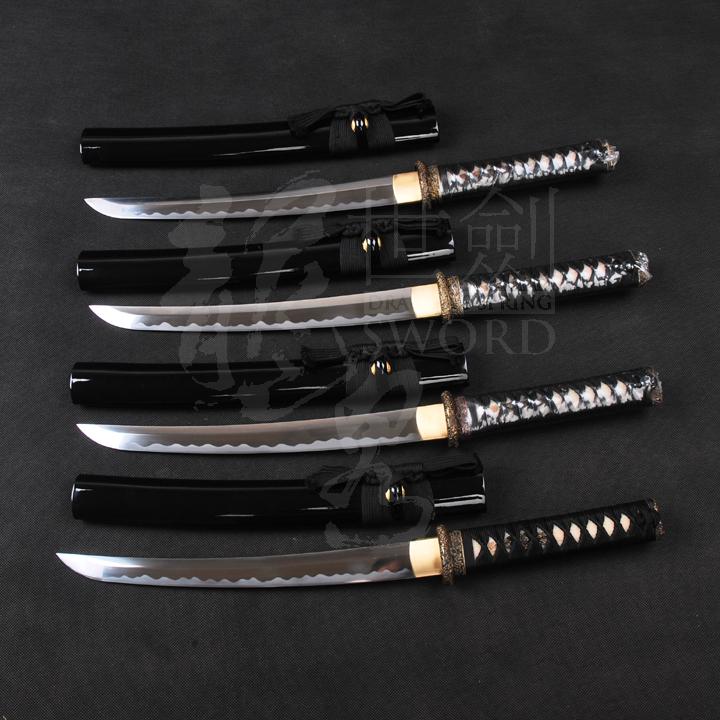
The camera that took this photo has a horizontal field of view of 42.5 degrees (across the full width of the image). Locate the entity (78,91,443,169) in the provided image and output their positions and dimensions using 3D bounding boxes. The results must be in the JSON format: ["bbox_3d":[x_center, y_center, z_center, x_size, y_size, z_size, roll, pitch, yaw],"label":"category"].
[{"bbox_3d":[-0.286,-0.725,2.932,0.971,0.140,0.193,-5,46,4],"label":"entity"}]
